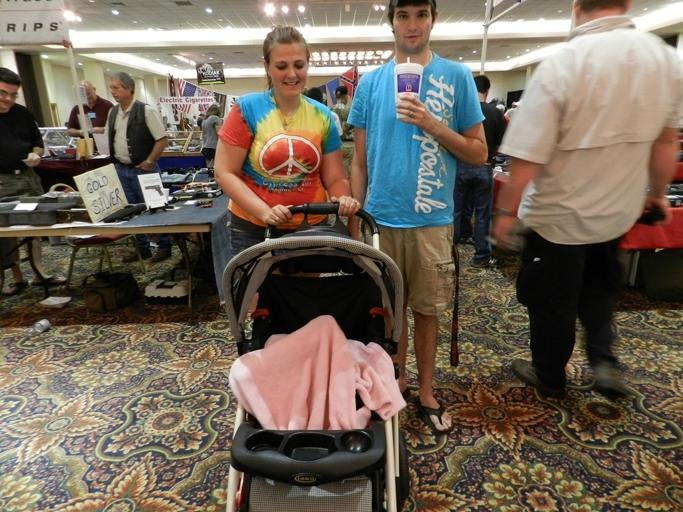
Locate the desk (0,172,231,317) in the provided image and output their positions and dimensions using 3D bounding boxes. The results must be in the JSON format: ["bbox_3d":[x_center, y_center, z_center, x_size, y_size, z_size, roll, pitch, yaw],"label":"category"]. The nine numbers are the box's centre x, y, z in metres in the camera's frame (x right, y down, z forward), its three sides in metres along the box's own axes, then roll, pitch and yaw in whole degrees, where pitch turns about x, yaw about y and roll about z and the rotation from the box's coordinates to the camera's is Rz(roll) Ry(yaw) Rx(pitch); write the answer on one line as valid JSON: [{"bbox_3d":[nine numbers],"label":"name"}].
[{"bbox_3d":[-1.708,-0.265,3.588,1.544,0.950,0.842,-4,20,0],"label":"desk"}]

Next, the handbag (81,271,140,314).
[{"bbox_3d":[-2.050,0.295,3.880,0.411,0.293,0.487,1,13,-1],"label":"handbag"}]

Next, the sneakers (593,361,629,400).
[{"bbox_3d":[1.525,0.713,2.518,0.131,0.147,0.373,-31,-5,20],"label":"sneakers"}]

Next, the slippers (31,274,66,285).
[{"bbox_3d":[-2.961,0.252,4.359,0.384,0.081,0.148,-3,12,-16],"label":"slippers"}]

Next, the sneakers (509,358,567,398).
[{"bbox_3d":[1.250,0.770,2.737,0.124,0.113,0.320,-10,16,-13],"label":"sneakers"}]

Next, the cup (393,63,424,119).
[{"bbox_3d":[0.302,-0.762,1.914,0.172,0.207,0.149,6,32,9],"label":"cup"}]

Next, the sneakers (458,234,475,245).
[{"bbox_3d":[1.613,-0.196,5.514,0.142,0.148,0.055,2,-13,1],"label":"sneakers"}]

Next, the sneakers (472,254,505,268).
[{"bbox_3d":[1.491,0.055,4.320,0.409,0.134,0.117,-1,23,-3],"label":"sneakers"}]

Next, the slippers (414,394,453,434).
[{"bbox_3d":[0.538,0.910,2.469,0.126,0.058,0.208,-18,40,-22],"label":"slippers"}]
